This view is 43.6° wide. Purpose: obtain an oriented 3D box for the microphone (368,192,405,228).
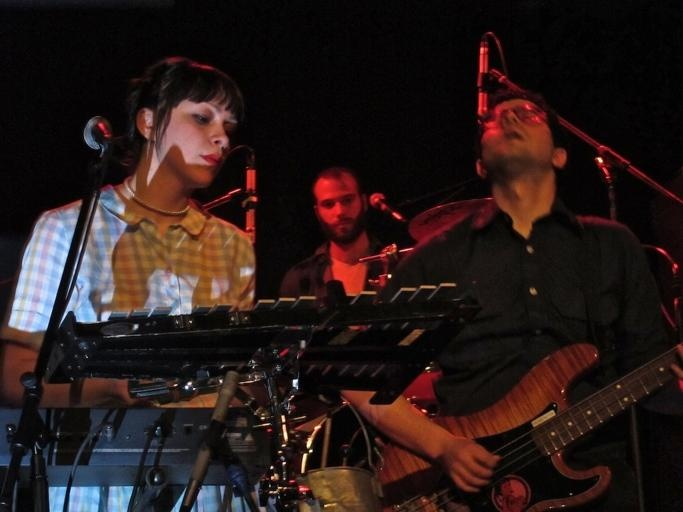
[{"bbox_3d":[0.243,-0.249,4.497,0.291,0.081,0.082,33,-17,-7],"label":"microphone"}]
